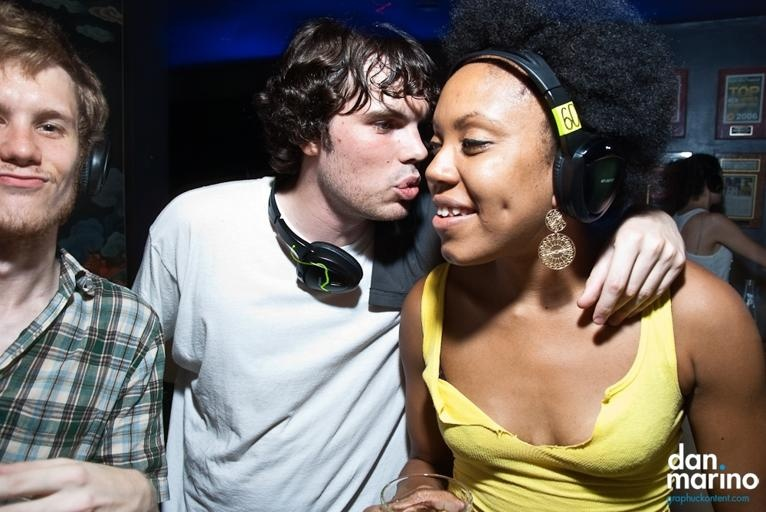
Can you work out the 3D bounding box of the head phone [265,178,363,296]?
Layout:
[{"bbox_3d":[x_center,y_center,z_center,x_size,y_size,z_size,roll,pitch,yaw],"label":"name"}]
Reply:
[{"bbox_3d":[-0.240,-0.055,2.132,0.408,0.168,0.411,50,20,28],"label":"head phone"}]

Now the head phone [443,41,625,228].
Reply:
[{"bbox_3d":[0.577,-0.364,1.832,0.182,0.467,0.520,-23,7,14],"label":"head phone"}]
